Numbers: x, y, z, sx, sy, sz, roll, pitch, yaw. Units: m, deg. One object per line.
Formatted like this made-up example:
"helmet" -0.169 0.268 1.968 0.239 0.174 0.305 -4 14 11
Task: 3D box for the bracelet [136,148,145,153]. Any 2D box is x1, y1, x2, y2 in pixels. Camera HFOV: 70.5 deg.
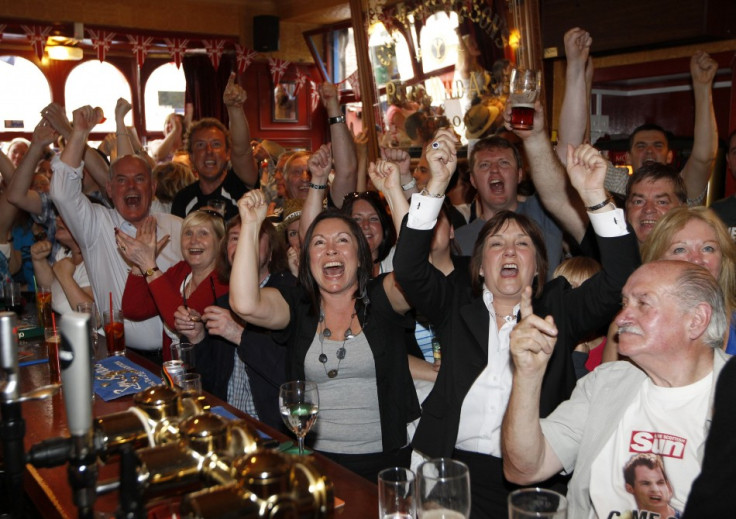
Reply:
"bracelet" -2.408 -1.155 5.546 0.067 0.050 0.068 -1 -11 6

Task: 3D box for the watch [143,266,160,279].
"watch" -1.286 0.085 3.109 0.078 0.054 0.073 -5 -14 16

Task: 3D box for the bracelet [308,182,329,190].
"bracelet" -0.335 -0.483 3.406 0.093 0.064 0.085 -9 15 -44

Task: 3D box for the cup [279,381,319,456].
"cup" -0.214 0.539 1.736 0.126 0.245 0.203 -5 7 -21

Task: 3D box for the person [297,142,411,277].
"person" -0.048 -0.285 2.759 0.750 0.776 0.296 2 8 1

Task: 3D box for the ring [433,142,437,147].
"ring" 0.268 -0.457 2.064 0.015 0.017 0.006 1 -8 9

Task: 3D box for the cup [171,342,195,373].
"cup" -0.818 0.448 2.353 0.106 0.137 0.107 -2 6 0

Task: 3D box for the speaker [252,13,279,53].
"speaker" -1.558 -3.508 7.998 0.379 0.570 0.365 -4 7 -17

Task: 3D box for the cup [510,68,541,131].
"cup" 0.744 -0.765 2.502 0.127 0.259 0.232 -1 7 15
